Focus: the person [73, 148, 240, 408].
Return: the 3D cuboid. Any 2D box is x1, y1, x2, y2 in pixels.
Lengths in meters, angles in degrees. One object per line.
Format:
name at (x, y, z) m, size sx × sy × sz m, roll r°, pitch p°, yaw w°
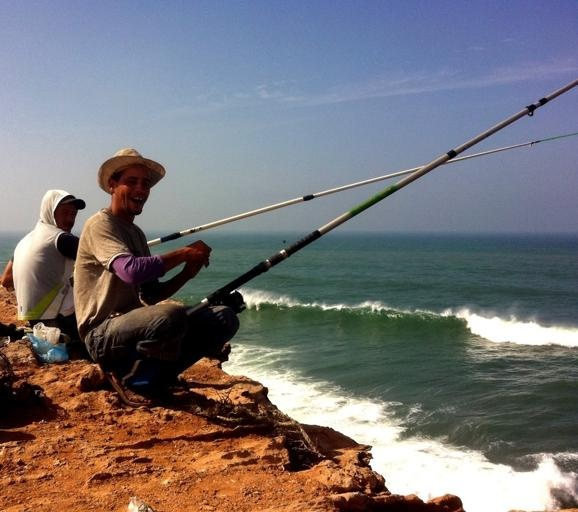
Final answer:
person at (-1.244, 0.091, 5.355) m, size 1.945 × 2.236 × 1.238 m, roll 1°, pitch 0°, yaw 25°
